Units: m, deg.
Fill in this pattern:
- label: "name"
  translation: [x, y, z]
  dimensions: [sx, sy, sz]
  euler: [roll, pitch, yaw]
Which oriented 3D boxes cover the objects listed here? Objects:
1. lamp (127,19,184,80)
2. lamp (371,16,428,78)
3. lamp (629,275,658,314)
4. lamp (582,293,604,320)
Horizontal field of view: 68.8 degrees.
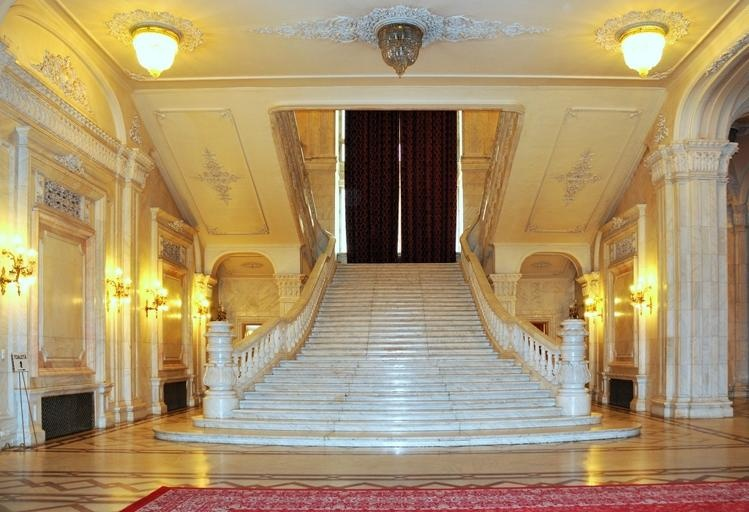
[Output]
- label: "lamp"
  translation: [-3.322, -2.998, 8.198]
  dimensions: [0.973, 0.730, 0.840]
  euler: [-1, -7, -1]
- label: "lamp"
  translation: [0.346, -3.120, 8.288]
  dimensions: [0.934, 0.728, 0.741]
  euler: [-1, -6, -4]
- label: "lamp"
  translation: [5.133, 0.728, 10.356]
  dimensions: [0.302, 0.686, 0.814]
  euler: [4, -9, -3]
- label: "lamp"
  translation: [5.145, 1.158, 12.781]
  dimensions: [0.270, 0.602, 0.715]
  euler: [6, -11, -15]
